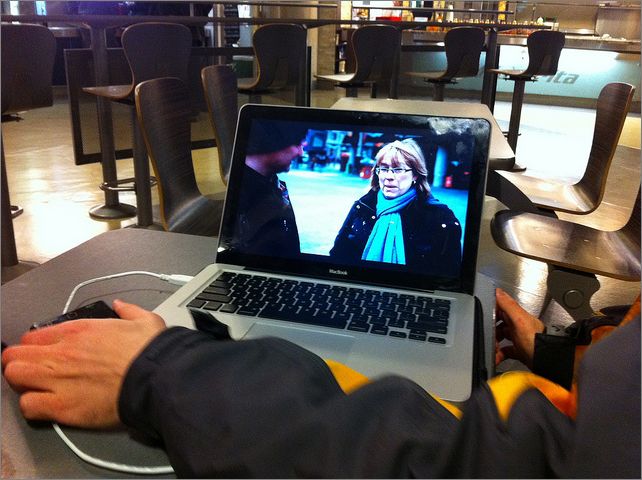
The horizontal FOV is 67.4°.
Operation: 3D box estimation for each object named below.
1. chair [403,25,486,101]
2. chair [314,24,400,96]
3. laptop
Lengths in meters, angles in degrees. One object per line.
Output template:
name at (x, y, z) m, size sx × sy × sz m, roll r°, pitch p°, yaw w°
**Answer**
chair at (1.219, -1.679, 4.579) m, size 0.589 × 0.650 × 0.440 m, roll -19°, pitch 30°, yaw -40°
chair at (0.403, -1.572, 4.237) m, size 0.547 × 0.596 × 0.943 m, roll 4°, pitch 22°, yaw 7°
laptop at (0.025, -0.014, 0.717) m, size 0.483 × 0.292 × 0.431 m, roll 11°, pitch 24°, yaw 14°
